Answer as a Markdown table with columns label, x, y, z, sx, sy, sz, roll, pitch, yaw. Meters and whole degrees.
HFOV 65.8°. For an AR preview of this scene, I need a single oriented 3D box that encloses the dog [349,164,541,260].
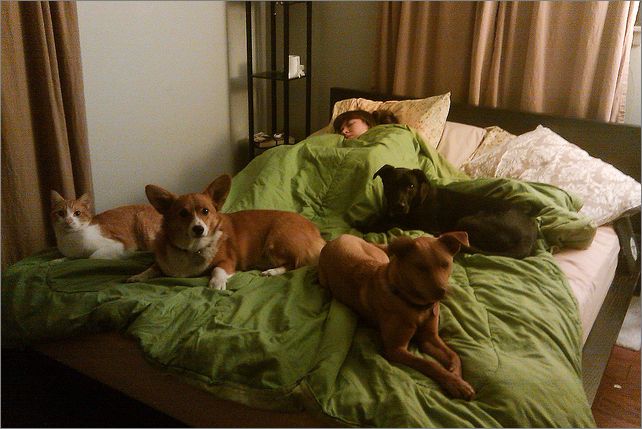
| label | x | y | z | sx | sy | sz | roll | pitch | yaw |
| --- | --- | --- | --- | --- | --- | --- | --- | --- | --- |
| dog | 0.731 | -0.003 | 2.726 | 0.724 | 0.272 | 0.498 | 11 | 9 | 14 |

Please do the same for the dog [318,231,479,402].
| label | x | y | z | sx | sy | sz | roll | pitch | yaw |
| --- | --- | --- | --- | --- | --- | --- | --- | --- | --- |
| dog | 0.318 | 0.309 | 2.103 | 0.491 | 0.354 | 0.753 | -18 | 34 | -37 |

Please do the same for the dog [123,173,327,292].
| label | x | y | z | sx | sy | sz | roll | pitch | yaw |
| --- | --- | --- | --- | --- | --- | --- | --- | --- | --- |
| dog | -0.432 | 0.035 | 2.527 | 0.528 | 0.484 | 0.874 | 1 | 5 | 43 |

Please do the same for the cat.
| label | x | y | z | sx | sy | sz | roll | pitch | yaw |
| --- | --- | --- | --- | --- | --- | --- | --- | --- | --- |
| cat | -1.116 | 0.037 | 2.783 | 0.355 | 0.329 | 0.594 | -5 | 2 | 28 |
